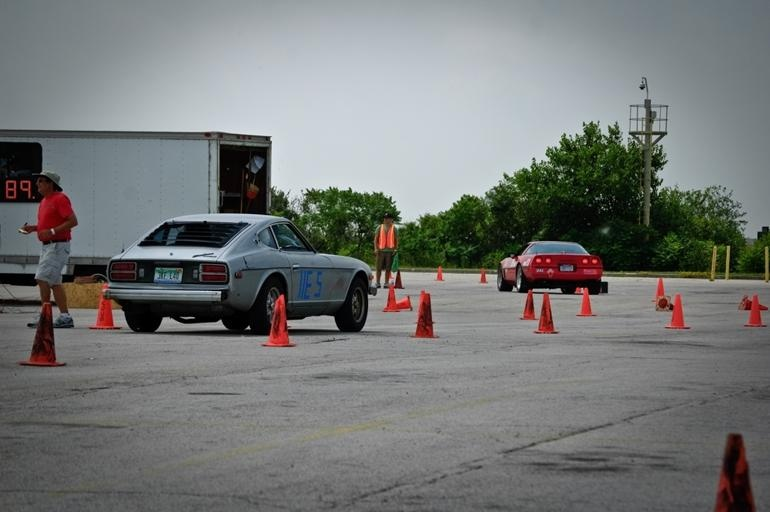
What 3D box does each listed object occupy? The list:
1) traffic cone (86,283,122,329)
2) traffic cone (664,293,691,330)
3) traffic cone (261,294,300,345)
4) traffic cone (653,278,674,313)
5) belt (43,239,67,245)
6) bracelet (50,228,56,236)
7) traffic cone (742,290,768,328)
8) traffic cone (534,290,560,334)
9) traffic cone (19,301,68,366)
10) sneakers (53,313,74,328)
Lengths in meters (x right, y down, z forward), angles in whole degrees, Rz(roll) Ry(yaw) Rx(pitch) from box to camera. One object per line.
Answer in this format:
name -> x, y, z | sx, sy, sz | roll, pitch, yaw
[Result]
traffic cone -> -5.180, 0.948, 14.370 | 0.826, 0.786, 0.873 | 12, -1, -21
traffic cone -> 5.962, 1.137, 16.173 | 0.645, 0.674, 0.692 | 0, 1, -16
traffic cone -> -1.653, 0.976, 12.248 | 0.501, 0.793, 0.652 | 0, 1, -8
traffic cone -> 8.924, 1.233, 25.398 | 0.656, 1.014, 0.658 | -4, -7, 37
belt -> -5.731, -0.250, 13.776 | 0.398, 0.079, 0.167 | -1, 2, -36
bracelet -> -5.729, -0.422, 13.634 | 0.084, 0.116, 0.069 | 0, 1, -25
traffic cone -> 9.103, 1.290, 19.517 | 0.564, 0.845, 0.588 | -4, 7, -22
traffic cone -> 3.029, 1.063, 14.918 | 0.506, 0.764, 0.455 | 0, 0, 40
traffic cone -> -4.278, 0.967, 9.926 | 0.455, 0.810, 0.519 | -1, 1, -43
sneakers -> -5.713, 1.151, 13.954 | 0.502, 0.266, 0.207 | 1, 10, 40
